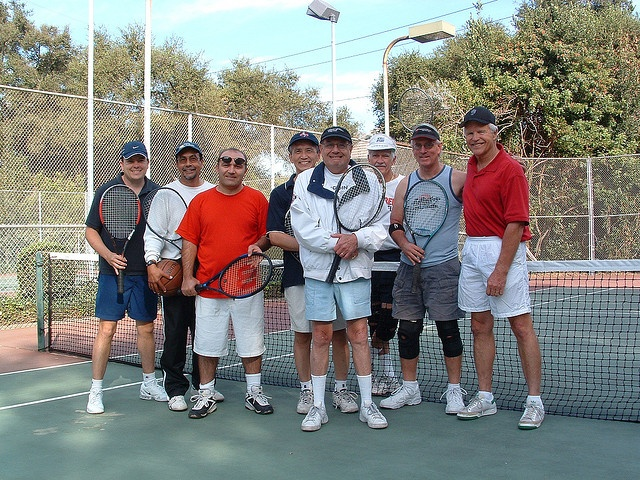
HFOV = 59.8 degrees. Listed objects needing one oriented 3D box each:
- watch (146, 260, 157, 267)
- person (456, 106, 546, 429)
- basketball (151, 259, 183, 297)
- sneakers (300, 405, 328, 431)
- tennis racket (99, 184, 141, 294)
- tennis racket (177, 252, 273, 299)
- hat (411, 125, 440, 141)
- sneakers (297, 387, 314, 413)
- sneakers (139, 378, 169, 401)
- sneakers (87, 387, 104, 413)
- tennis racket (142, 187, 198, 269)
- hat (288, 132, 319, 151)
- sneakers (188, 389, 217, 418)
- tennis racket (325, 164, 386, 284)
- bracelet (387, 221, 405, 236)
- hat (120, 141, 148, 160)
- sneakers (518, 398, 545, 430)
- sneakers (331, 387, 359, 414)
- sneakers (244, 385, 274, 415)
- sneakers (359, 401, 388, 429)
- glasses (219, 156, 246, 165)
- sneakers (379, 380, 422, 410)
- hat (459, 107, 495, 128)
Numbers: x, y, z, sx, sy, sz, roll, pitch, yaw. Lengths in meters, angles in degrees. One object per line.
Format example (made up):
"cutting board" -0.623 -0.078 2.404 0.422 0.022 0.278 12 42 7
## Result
"watch" -1.625 0.220 5.334 0.074 0.049 0.077 1 -4 -3
"person" 1.585 0.216 4.955 0.729 2.913 0.428 0 0 21
"basketball" -1.455 0.352 5.388 0.327 0.362 0.310 1 -5 38
"sneakers" -0.034 1.556 4.935 0.137 0.220 0.306 -1 -1 43
"tennis racket" -1.985 -0.201 5.536 0.386 0.820 0.146 0 0 -20
"tennis racket" -0.796 0.332 5.110 0.685 0.390 0.468 0 -1 -10
"hat" 1.008 -1.039 5.342 0.253 0.172 0.380 0 -1 11
"sneakers" -0.137 1.529 5.310 0.217 0.235 0.611 0 -13 0
"sneakers" -1.742 1.566 5.860 0.367 0.163 0.164 -2 -6 28
"sneakers" -2.201 1.553 5.447 0.157 0.208 0.273 0 -1 -23
"tennis racket" -1.527 -0.147 5.426 0.284 0.721 0.446 -7 -45 17
"hat" -0.157 -0.979 5.581 0.259 0.160 0.364 -1 -7 0
"sneakers" -1.118 1.541 5.311 0.161 0.242 0.280 0 -1 17
"tennis racket" 0.275 -0.153 5.039 0.517 1.276 0.085 2 29 -3
"bracelet" 0.725 -0.118 5.385 0.129 0.127 0.099 3 12 32
"hat" -1.861 -0.900 5.546 0.268 0.160 0.231 0 -1 -4
"sneakers" 1.856 1.496 4.878 0.152 0.290 0.337 -1 -1 41
"sneakers" 0.247 1.552 5.402 0.142 0.131 0.293 3 -11 -24
"sneakers" -0.596 1.544 5.337 0.154 0.195 0.364 3 -11 -35
"sneakers" 0.461 1.545 4.885 0.131 0.148 0.320 -3 -7 -26
"glasses" -0.804 -0.730 5.217 0.272 0.088 0.118 0 -1 -29
"sneakers" 0.838 1.520 5.476 0.495 0.245 0.180 1 -7 -27
"hat" 1.408 -1.112 4.977 0.285 0.182 0.234 0 -1 13
